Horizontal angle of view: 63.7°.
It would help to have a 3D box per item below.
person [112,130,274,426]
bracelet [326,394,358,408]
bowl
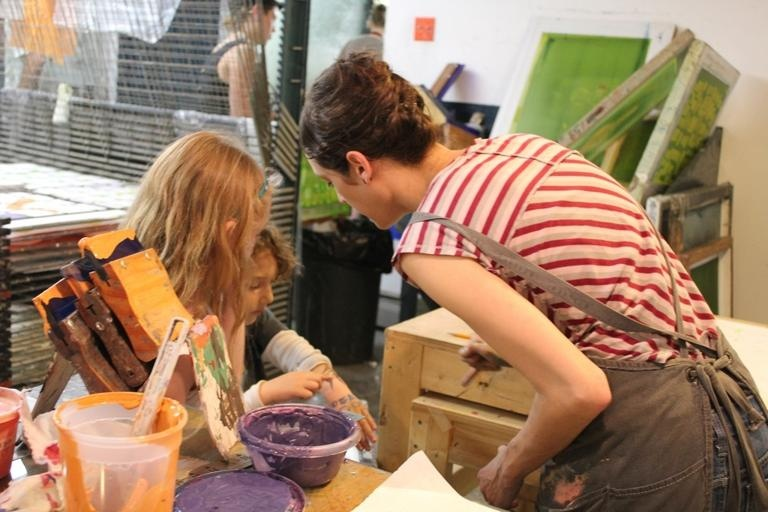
[{"bbox_3d":[-0.653,0.024,2.103,0.525,0.829,0.479,-2,26,-28],"label":"person"},{"bbox_3d":[-0.123,0.498,2.119,0.053,0.020,0.073,-1,-4,40],"label":"bracelet"},{"bbox_3d":[-0.215,0.459,1.518,0.296,0.114,0.287,6,7,-1],"label":"bowl"}]
